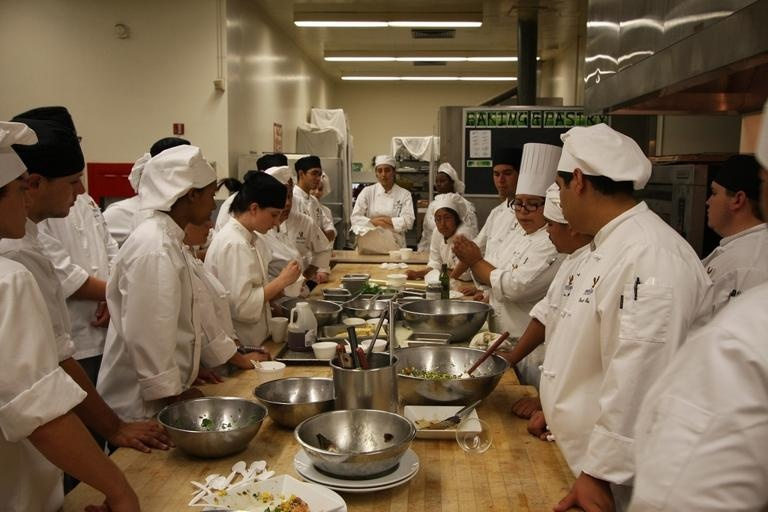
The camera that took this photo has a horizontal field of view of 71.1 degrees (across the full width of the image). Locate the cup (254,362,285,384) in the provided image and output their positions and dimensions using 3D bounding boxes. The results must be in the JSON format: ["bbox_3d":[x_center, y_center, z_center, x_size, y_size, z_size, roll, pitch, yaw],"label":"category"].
[{"bbox_3d":[-0.499,0.498,2.369,0.102,0.076,0.104,0,1,0],"label":"cup"}]

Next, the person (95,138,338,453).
[{"bbox_3d":[-0.859,-0.103,2.923,1.049,1.632,0.868,-5,22,-23],"label":"person"}]

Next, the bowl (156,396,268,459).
[{"bbox_3d":[-0.623,0.637,1.977,0.371,0.145,0.290,6,13,37],"label":"bowl"}]

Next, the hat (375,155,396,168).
[{"bbox_3d":[-0.049,-1.342,7.562,0.309,0.162,0.316,5,7,19],"label":"hat"}]

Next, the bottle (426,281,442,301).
[{"bbox_3d":[0.324,0.228,3.530,0.104,0.121,0.102,-1,2,-44],"label":"bottle"}]

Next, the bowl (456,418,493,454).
[{"bbox_3d":[0.342,0.671,2.064,0.134,0.064,0.216,0,11,10],"label":"bowl"}]

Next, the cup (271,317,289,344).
[{"bbox_3d":[-0.601,0.423,3.074,0.128,0.150,0.131,2,0,0],"label":"cup"}]

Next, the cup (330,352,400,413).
[{"bbox_3d":[-0.076,0.496,2.128,0.224,0.246,0.236,-1,2,0],"label":"cup"}]

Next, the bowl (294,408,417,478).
[{"bbox_3d":[-0.099,0.631,1.794,0.392,0.123,0.405,0,2,0],"label":"bowl"}]

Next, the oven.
[{"bbox_3d":[1.779,-0.355,3.498,0.236,0.492,0.495,-19,23,-30],"label":"oven"}]

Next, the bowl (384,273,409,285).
[{"bbox_3d":[0.096,0.185,4.241,0.146,0.089,0.191,-2,11,-3],"label":"bowl"}]

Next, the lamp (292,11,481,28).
[{"bbox_3d":[0.059,-3.518,7.939,2.744,0.244,0.316,-2,11,-2],"label":"lamp"}]

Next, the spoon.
[{"bbox_3d":[-0.514,0.737,1.779,0.106,0.018,0.181,8,8,36],"label":"spoon"}]

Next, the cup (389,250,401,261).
[{"bbox_3d":[0.121,-0.001,6.038,0.108,0.072,0.111,0,-7,0],"label":"cup"}]

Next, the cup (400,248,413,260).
[{"bbox_3d":[0.245,-0.017,6.075,0.120,0.096,0.122,-1,0,0],"label":"cup"}]

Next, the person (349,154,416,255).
[{"bbox_3d":[-0.021,-0.724,7.318,0.819,1.242,1.028,-1,11,2],"label":"person"}]

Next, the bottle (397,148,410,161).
[{"bbox_3d":[0.392,-2.083,11.113,0.265,0.269,0.280,1,1,10],"label":"bottle"}]
